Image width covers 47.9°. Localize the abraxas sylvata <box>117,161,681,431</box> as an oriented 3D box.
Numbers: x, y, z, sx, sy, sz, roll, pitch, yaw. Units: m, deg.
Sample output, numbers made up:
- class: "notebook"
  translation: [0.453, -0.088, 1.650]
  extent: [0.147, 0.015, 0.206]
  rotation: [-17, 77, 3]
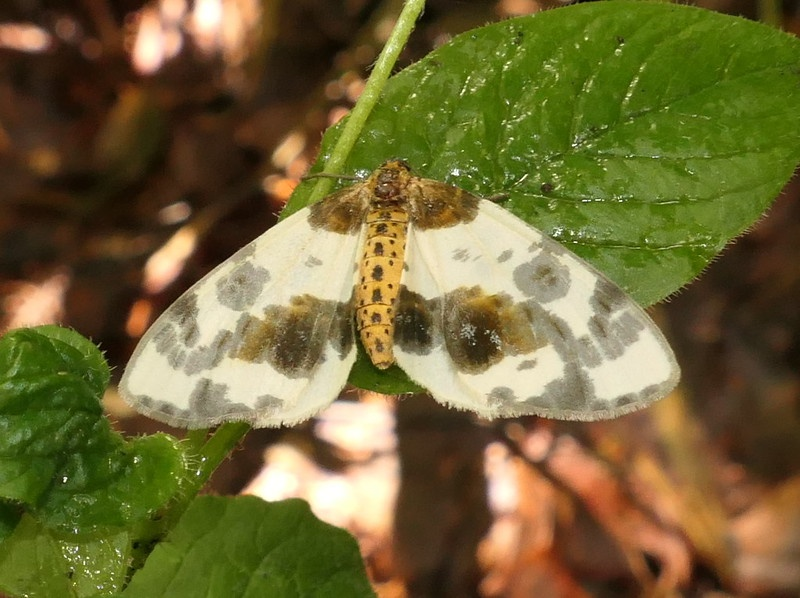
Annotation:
- class: "abraxas sylvata"
  translation: [-0.036, 0.034, 3.101]
  extent: [2.234, 0.546, 0.829]
  rotation: [-1, 71, 6]
